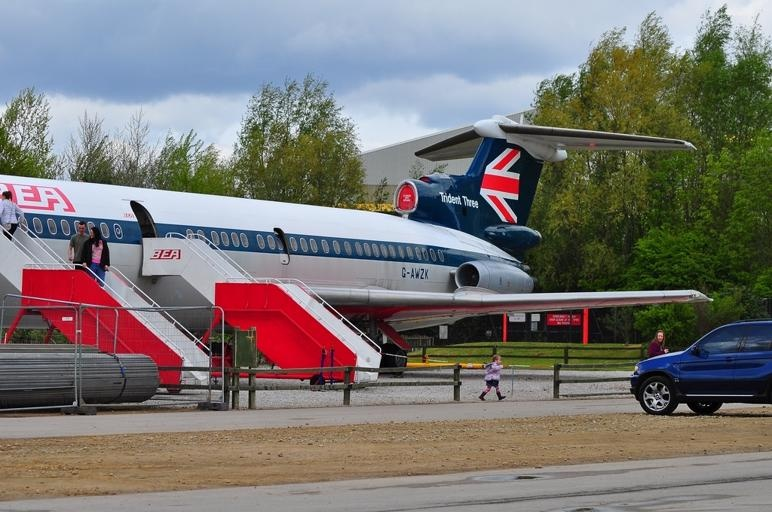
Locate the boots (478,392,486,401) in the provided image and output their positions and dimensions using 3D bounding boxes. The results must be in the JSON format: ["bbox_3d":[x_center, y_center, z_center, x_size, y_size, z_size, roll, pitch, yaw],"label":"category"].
[{"bbox_3d":[2.723,3.979,36.864,0.113,0.245,0.256,43,13,-11],"label":"boots"}]

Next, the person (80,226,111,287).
[{"bbox_3d":[-8.230,-0.089,36.596,0.726,1.431,0.342,3,-3,-16],"label":"person"}]

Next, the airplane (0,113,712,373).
[{"bbox_3d":[-0.961,-1.204,43.761,23.521,8.895,11.523,3,-3,-20],"label":"airplane"}]
